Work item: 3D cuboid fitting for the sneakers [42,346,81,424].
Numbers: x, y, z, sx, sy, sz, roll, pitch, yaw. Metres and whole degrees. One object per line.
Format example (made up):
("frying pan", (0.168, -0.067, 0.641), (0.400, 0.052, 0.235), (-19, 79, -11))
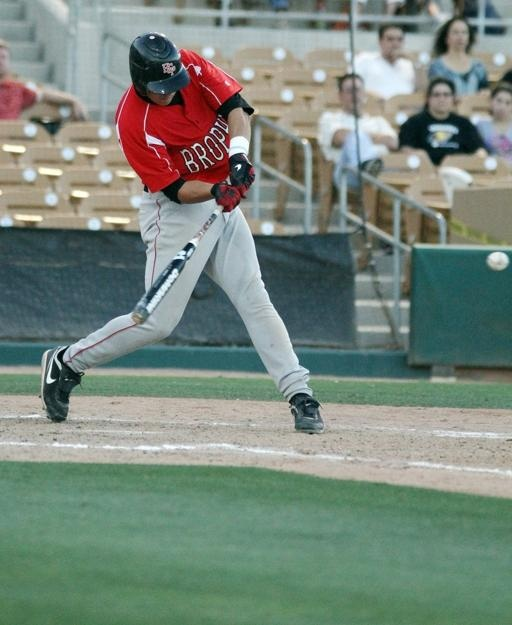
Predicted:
("sneakers", (-0.671, 0.238, 3.645), (0.161, 0.255, 0.107), (-11, -4, 22))

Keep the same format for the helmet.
("helmet", (-0.302, -0.773, 3.365), (0.182, 0.195, 0.220), (-2, 14, -6))

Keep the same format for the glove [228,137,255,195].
("glove", (-0.049, -0.464, 3.420), (0.086, 0.172, 0.106), (-9, -29, 15))

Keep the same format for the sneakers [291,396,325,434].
("sneakers", (0.172, 0.341, 3.636), (0.088, 0.060, 0.169), (0, 12, -13))
